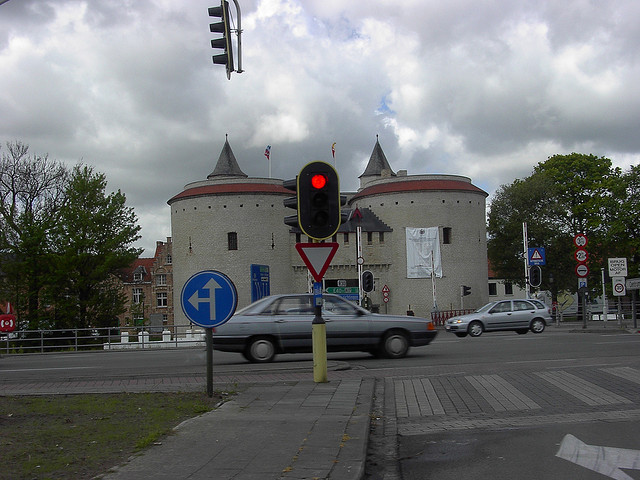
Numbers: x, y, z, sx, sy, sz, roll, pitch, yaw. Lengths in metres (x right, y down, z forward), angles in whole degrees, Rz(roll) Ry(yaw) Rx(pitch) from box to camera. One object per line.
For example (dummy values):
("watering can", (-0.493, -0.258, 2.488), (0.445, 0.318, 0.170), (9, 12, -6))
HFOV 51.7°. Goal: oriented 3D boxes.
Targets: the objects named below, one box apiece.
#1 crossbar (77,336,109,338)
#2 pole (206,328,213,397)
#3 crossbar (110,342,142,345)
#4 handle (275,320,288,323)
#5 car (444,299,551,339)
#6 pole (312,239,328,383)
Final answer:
("crossbar", (-10.424, 4.440, 30.227), (0.990, 0.051, 4.004), (0, -8, -22))
("pole", (-1.824, 2.017, 10.896), (0.080, 1.115, 0.452), (-1, -7, -12))
("crossbar", (-9.624, 5.173, 32.824), (1.111, 0.177, 6.346), (0, -8, -19))
("handle", (-0.981, 2.082, 16.886), (0.272, 0.060, 0.069), (0, -7, -21))
("car", (7.871, 3.494, 29.341), (4.339, 1.480, 1.845), (1, -5, -8))
("pole", (-0.014, 1.963, 12.332), (0.249, 1.391, 0.560), (-3, -7, -1))
